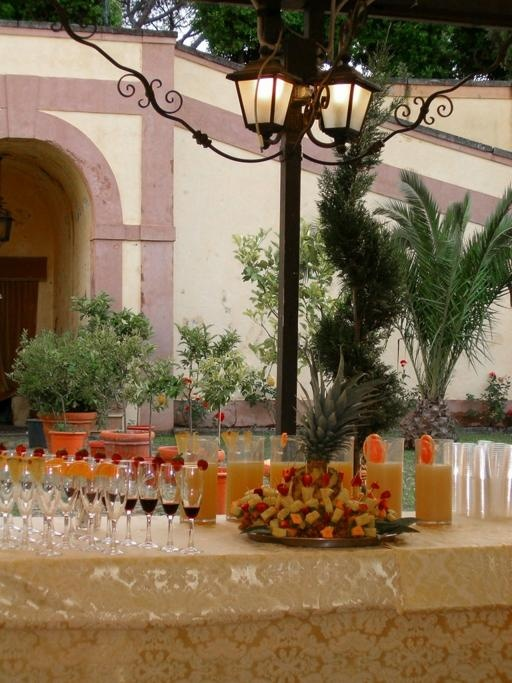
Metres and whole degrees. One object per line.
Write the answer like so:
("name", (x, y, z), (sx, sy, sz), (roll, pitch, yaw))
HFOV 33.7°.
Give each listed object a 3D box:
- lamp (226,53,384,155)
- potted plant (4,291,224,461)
("lamp", (0.155, -0.894, 3.140), (0.504, 0.333, 0.370), (5, 21, 2))
("potted plant", (-1.696, 0.257, 9.056), (1.711, 1.761, 1.758), (1, 15, -1))
